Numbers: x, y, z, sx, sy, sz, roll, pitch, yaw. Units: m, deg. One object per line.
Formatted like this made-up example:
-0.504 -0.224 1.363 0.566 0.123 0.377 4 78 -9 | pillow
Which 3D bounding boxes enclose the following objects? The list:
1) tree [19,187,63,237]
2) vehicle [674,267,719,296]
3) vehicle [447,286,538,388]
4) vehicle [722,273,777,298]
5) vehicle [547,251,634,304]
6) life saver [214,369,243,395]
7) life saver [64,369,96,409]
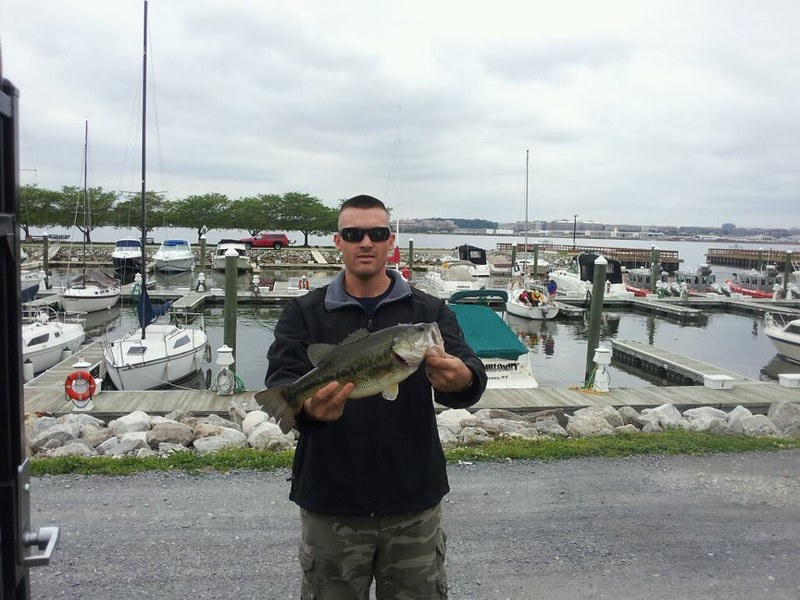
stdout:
-32.257 -7.923 62.811 2.833 4.731 6.715 -2 8 -26 | tree
17.256 -1.136 40.544 2.090 1.713 3.413 -1 0 11 | vehicle
2.298 0.793 17.607 1.629 1.893 5.374 -4 6 -3 | vehicle
20.136 -0.853 39.925 1.566 1.202 3.169 0 2 11 | vehicle
9.866 -1.218 36.280 3.725 2.176 5.810 4 8 24 | vehicle
-3.331 1.593 13.663 0.421 0.481 0.568 -2 -6 -14 | life saver
-5.733 1.623 12.555 0.721 0.856 0.336 -1 -1 -25 | life saver
